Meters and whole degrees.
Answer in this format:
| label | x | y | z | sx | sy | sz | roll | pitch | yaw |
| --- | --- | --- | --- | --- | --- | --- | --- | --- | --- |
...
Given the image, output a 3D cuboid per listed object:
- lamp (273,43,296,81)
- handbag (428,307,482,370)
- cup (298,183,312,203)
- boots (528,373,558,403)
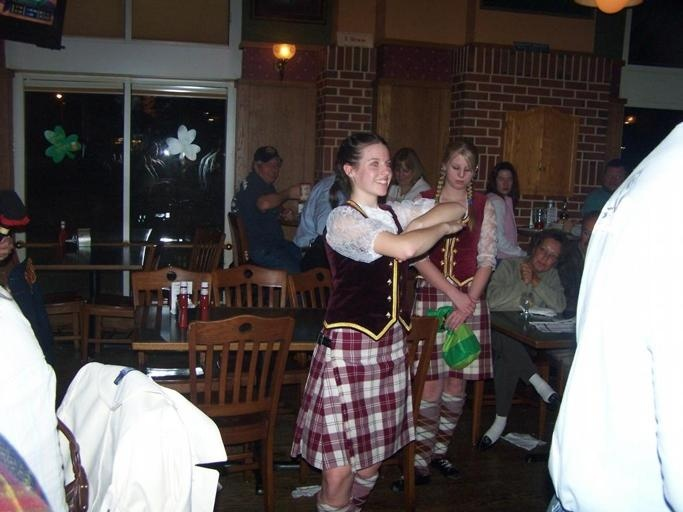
| label | x | y | z | sx | sy | sz | roll | pitch | yaw |
| --- | --- | --- | --- | --- | --- | --- | --- | --- | --- |
| lamp | -0.643 | -2.189 | 6.743 | 0.264 | 0.391 | 0.236 | 1 | 11 | -6 |
| handbag | 0.574 | 0.433 | 3.124 | 0.192 | 0.295 | 0.148 | -33 | -3 | 17 |
| cup | -0.369 | -0.625 | 5.928 | 0.174 | 0.213 | 0.183 | 0 | 16 | 0 |
| boots | 1.293 | 0.867 | 3.892 | 0.094 | 0.090 | 0.329 | 13 | 16 | -14 |
